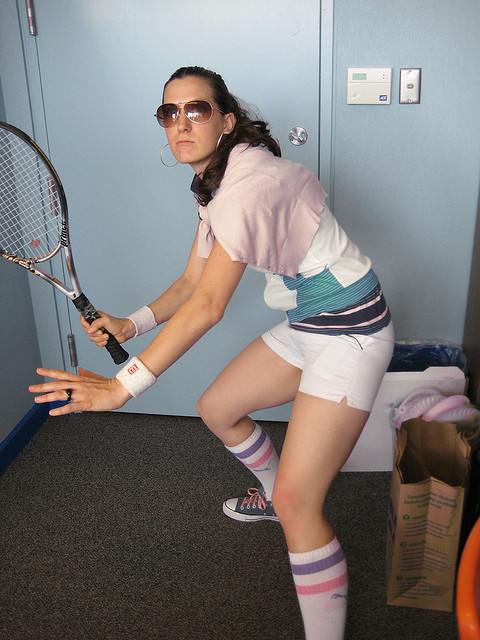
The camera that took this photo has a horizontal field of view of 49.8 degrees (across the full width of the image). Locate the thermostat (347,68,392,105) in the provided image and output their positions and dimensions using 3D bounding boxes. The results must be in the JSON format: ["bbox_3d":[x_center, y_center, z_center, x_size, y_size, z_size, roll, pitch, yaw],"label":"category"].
[{"bbox_3d":[0.464,-0.835,1.833,0.131,0.100,0.041,2,22,8],"label":"thermostat"}]

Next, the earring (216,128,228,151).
[{"bbox_3d":[-0.043,-0.415,1.182,0.014,0.044,0.049,8,24,13],"label":"earring"}]

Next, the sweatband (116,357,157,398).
[{"bbox_3d":[-0.200,0.110,0.979,0.062,0.077,0.047,14,26,25],"label":"sweatband"}]

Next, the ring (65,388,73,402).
[{"bbox_3d":[-0.313,0.140,0.953,0.009,0.021,0.017,1,-2,-5],"label":"ring"}]

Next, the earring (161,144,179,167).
[{"bbox_3d":[-0.286,-0.652,2.056,0.067,0.082,0.027,9,25,16],"label":"earring"}]

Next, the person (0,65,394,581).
[{"bbox_3d":[-0.016,0.104,1.358,0.737,1.389,0.903,4,24,4],"label":"person"}]
